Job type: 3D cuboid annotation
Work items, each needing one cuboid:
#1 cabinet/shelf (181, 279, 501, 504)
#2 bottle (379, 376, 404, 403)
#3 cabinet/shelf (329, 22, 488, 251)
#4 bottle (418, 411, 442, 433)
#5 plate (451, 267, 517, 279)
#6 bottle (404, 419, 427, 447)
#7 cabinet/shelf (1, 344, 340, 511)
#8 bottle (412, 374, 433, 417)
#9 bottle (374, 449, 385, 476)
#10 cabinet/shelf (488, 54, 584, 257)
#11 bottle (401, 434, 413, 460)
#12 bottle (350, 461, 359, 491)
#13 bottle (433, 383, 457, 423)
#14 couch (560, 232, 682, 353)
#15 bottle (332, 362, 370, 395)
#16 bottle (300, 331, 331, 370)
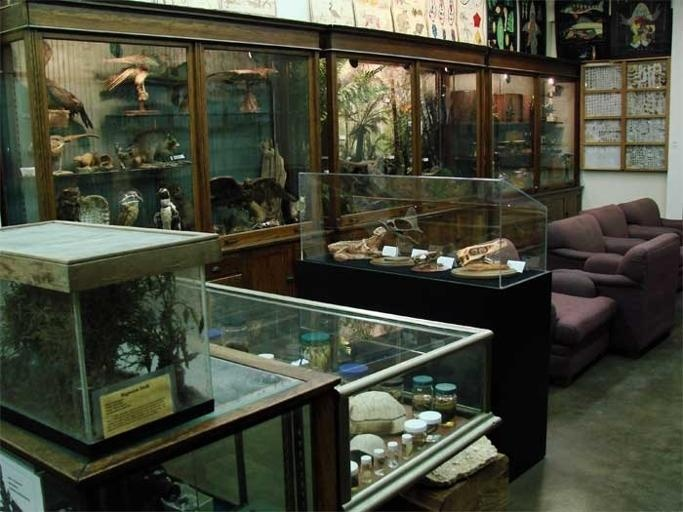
[{"bbox_3d":[0.048,0.354,2.080,0.944,0.340,0.749,7,12,40],"label":"cabinet/shelf"},{"bbox_3d":[0.161,0.449,1.980,0.090,0.087,0.089,-2,12,-7],"label":"bottle"},{"bbox_3d":[0.620,-1.330,6.267,2.097,1.931,0.811,-6,10,-31],"label":"cabinet/shelf"},{"bbox_3d":[0.332,0.599,2.121,0.079,0.075,0.080,8,12,40],"label":"bottle"},{"bbox_3d":[0.830,0.099,3.365,0.369,0.057,0.132,2,12,18],"label":"plate"},{"bbox_3d":[0.275,0.618,2.077,0.089,0.085,0.091,1,6,25],"label":"bottle"},{"bbox_3d":[-0.452,0.411,1.594,0.540,0.505,0.551,10,14,41],"label":"cabinet/shelf"},{"bbox_3d":[0.297,0.511,2.116,0.086,0.139,0.090,0,6,0],"label":"bottle"},{"bbox_3d":[0.134,0.695,1.958,0.026,0.090,0.061,6,14,39],"label":"bottle"},{"bbox_3d":[3.039,-1.480,8.481,0.836,2.616,1.501,-18,17,-37],"label":"cabinet/shelf"},{"bbox_3d":[0.232,0.663,2.036,0.031,0.074,0.060,3,12,26],"label":"bottle"},{"bbox_3d":[0.043,0.702,1.868,0.011,0.100,0.060,2,12,23],"label":"bottle"},{"bbox_3d":[0.396,0.566,2.209,0.089,0.143,0.088,0,8,0],"label":"bottle"},{"bbox_3d":[2.644,0.317,5.627,1.043,1.057,1.049,-14,16,-42],"label":"couch"},{"bbox_3d":[0.028,0.392,1.831,0.082,0.036,0.106,4,8,33],"label":"bottle"},{"bbox_3d":[-0.087,0.339,2.007,0.131,0.114,0.128,-3,3,-32],"label":"bottle"}]
